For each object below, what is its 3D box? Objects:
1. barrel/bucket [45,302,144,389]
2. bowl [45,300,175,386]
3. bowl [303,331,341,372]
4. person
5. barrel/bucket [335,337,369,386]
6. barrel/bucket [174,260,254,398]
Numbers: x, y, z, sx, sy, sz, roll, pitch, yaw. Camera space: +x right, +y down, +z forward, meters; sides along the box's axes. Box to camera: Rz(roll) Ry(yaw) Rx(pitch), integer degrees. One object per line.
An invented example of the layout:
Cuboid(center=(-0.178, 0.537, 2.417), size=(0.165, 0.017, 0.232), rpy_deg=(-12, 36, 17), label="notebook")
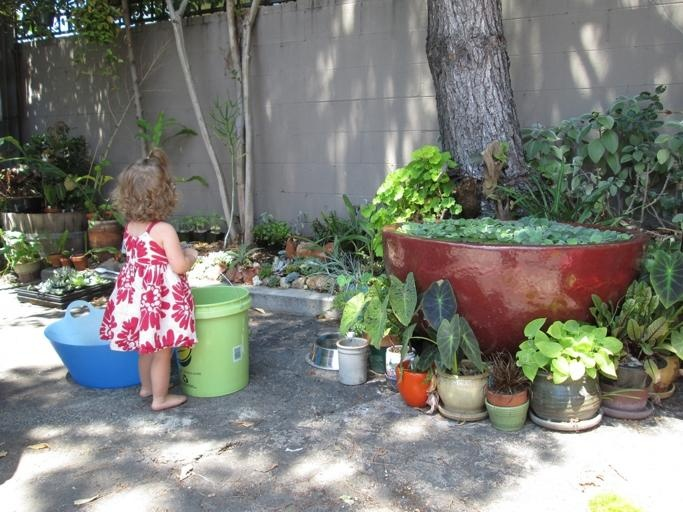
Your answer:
Cuboid(center=(-1.722, 0.667, 4.038), size=(0.605, 0.414, 0.634), rpy_deg=(3, 9, 0), label="barrel/bucket")
Cuboid(center=(-1.727, 0.667, 4.015), size=(0.600, 0.409, 0.632), rpy_deg=(3, 9, 0), label="bowl")
Cuboid(center=(-0.093, 0.743, 4.223), size=(0.378, 0.151, 0.405), rpy_deg=(10, 8, -1), label="bowl")
Cuboid(center=(-1.230, 0.172, 3.566), size=(0.610, 1.631, 0.401), rpy_deg=(-5, 10, -12), label="person")
Cuboid(center=(0.104, 0.753, 3.939), size=(0.249, 0.306, 0.263), rpy_deg=(0, 5, 0), label="barrel/bucket")
Cuboid(center=(-0.752, 0.547, 3.906), size=(0.643, 0.735, 0.648), rpy_deg=(1, 5, 0), label="barrel/bucket")
